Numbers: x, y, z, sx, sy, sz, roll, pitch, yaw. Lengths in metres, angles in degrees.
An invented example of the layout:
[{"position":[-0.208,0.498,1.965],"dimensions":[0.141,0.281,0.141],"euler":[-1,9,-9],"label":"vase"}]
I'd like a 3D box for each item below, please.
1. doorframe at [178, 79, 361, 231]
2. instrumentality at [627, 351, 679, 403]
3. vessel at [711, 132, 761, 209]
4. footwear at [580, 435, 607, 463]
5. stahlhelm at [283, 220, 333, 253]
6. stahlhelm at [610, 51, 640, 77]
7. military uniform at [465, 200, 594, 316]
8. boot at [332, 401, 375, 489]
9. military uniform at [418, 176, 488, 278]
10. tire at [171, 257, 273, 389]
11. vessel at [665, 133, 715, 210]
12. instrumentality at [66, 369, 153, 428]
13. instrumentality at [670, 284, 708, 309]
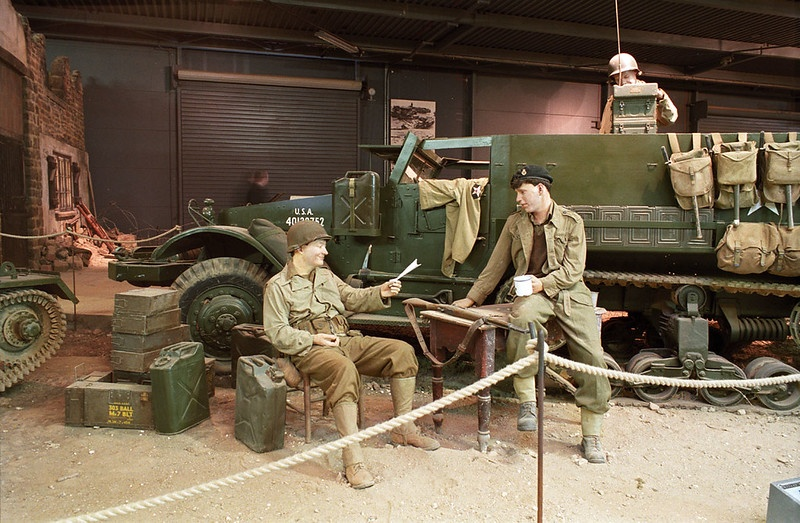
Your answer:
[{"position":[-2.699,-2.191,12.914],"dimensions":[3.471,2.753,0.279],"euler":[0,2,-16],"label":"doorframe"},{"position":[2.881,1.326,7.919],"dimensions":[0.504,0.586,0.631],"euler":[2,12,2],"label":"instrumentality"},{"position":[3.728,-0.964,7.488],"dimensions":[0.496,0.748,0.195],"euler":[1,8,19],"label":"vessel"},{"position":[1.945,1.902,6.784],"dimensions":[0.247,0.231,0.190],"euler":[1,8,17],"label":"footwear"},{"position":[-0.942,-0.233,6.946],"dimensions":[0.400,0.280,0.300],"euler":[12,-10,-9],"label":"stahlhelm"},{"position":[2.843,-2.523,8.544],"dimensions":[0.288,0.238,0.382],"euler":[0,11,40],"label":"stahlhelm"},{"position":[1.306,-0.113,7.254],"dimensions":[1.235,1.183,0.974],"euler":[5,11,-6],"label":"military uniform"},{"position":[-0.608,1.784,6.414],"dimensions":[0.287,0.633,0.868],"euler":[-7,4,-24],"label":"boot"},{"position":[0.666,-0.436,8.254],"dimensions":[1.061,1.661,0.331],"euler":[4,-5,12],"label":"military uniform"},{"position":[-2.142,0.746,8.571],"dimensions":[1.288,1.330,0.414],"euler":[13,14,2],"label":"tire"},{"position":[3.266,-1.045,7.629],"dimensions":[0.461,0.800,0.455],"euler":[-11,18,16],"label":"vessel"},{"position":[-3.094,1.498,7.178],"dimensions":[0.599,0.305,0.619],"euler":[3,-2,0],"label":"instrumentality"},{"position":[3.293,0.387,7.639],"dimensions":[0.273,0.323,0.320],"euler":[3,-2,9],"label":"instrumentality"}]
